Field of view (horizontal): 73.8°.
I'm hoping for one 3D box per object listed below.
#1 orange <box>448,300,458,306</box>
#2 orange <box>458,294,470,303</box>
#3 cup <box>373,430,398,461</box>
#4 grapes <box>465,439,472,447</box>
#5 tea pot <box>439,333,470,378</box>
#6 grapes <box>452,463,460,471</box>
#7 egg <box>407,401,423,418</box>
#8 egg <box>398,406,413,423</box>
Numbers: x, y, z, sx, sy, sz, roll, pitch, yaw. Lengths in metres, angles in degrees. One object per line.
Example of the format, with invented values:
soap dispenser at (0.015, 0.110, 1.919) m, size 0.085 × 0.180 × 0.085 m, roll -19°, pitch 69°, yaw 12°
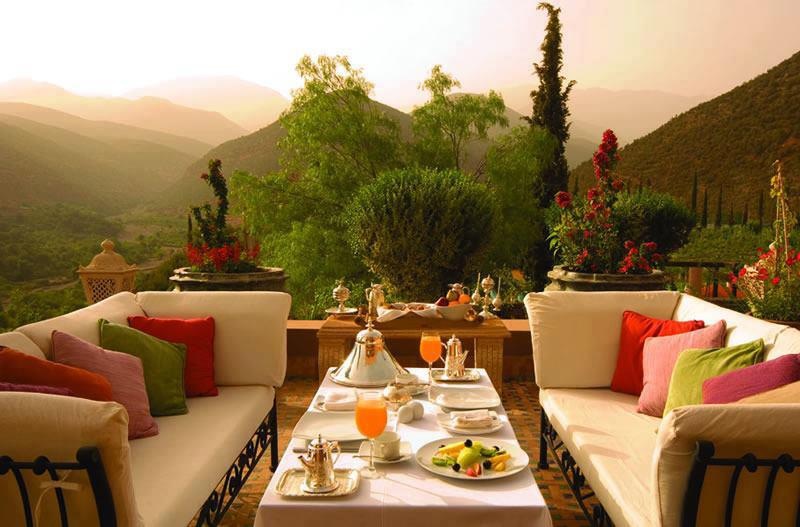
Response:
orange at (0.516, 0.374, 5.131) m, size 0.056 × 0.038 × 0.068 m, roll 3°, pitch 4°, yaw 21°
orange at (0.629, 0.336, 5.242) m, size 0.083 × 0.081 × 0.081 m, roll 35°, pitch -34°, yaw -33°
cup at (-0.078, 0.984, 2.917) m, size 0.120 × 0.112 × 0.158 m, roll -1°, pitch -2°, yaw -1°
grapes at (0.372, 0.969, 2.899) m, size 0.033 × 0.022 × 0.034 m, roll 3°, pitch 6°, yaw 26°
tea pot at (0.395, 0.700, 4.085) m, size 0.312 × 0.420 × 0.195 m, roll 1°, pitch -2°, yaw 14°
grapes at (0.297, 1.064, 2.809) m, size 0.033 × 0.027 × 0.036 m, roll 4°, pitch 9°, yaw 14°
egg at (0.098, 0.893, 3.353) m, size 0.087 × 0.098 × 0.095 m, roll 9°, pitch 5°, yaw 4°
egg at (0.047, 0.935, 3.342) m, size 0.091 × 0.110 × 0.093 m, roll -4°, pitch -6°, yaw 9°
